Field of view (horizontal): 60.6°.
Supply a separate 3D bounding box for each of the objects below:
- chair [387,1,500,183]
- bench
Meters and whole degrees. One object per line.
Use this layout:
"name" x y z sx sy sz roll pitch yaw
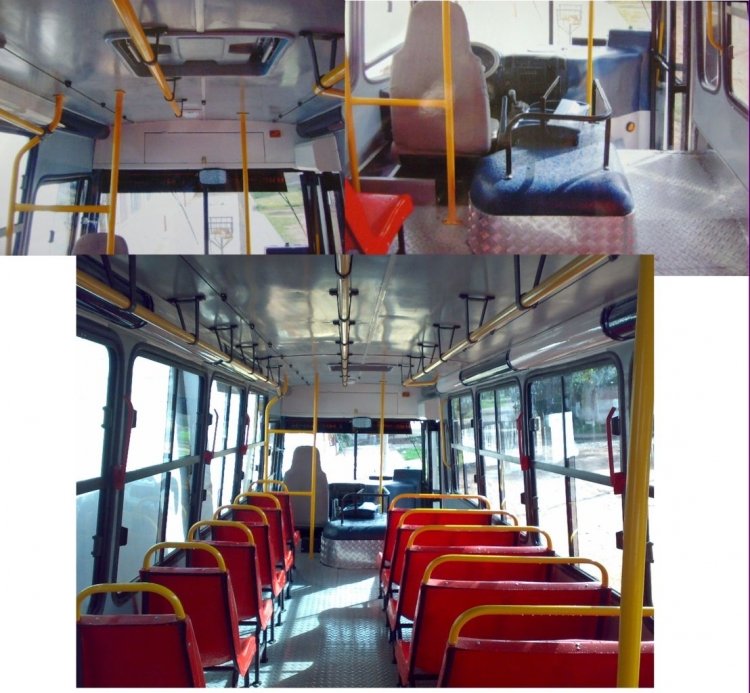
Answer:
"chair" 0.228 -0.959 2.489 0.420 0.783 0.517 1 4 6
"bench" 0.620 1.199 2.875 0.932 0.706 1.034 2 6 -2
